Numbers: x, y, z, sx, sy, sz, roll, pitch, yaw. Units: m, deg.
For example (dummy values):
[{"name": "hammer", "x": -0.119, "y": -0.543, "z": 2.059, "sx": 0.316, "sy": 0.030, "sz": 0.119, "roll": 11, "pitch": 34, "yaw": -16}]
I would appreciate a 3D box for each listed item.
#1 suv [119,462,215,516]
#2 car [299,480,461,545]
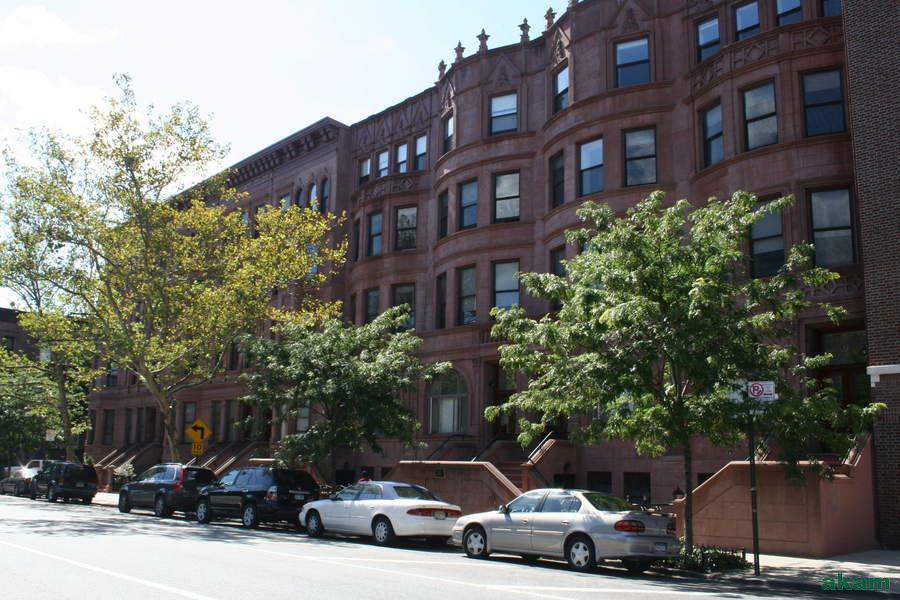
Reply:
[{"name": "suv", "x": -11.546, "y": 7.789, "z": 37.600, "sx": 2.035, "sy": 1.757, "sz": 4.511, "roll": 10, "pitch": -15, "yaw": -44}, {"name": "car", "x": -2.415, "y": 6.948, "z": 29.847, "sx": 4.727, "sy": 1.459, "sz": 2.121, "roll": -6, "pitch": -15, "yaw": 40}]
